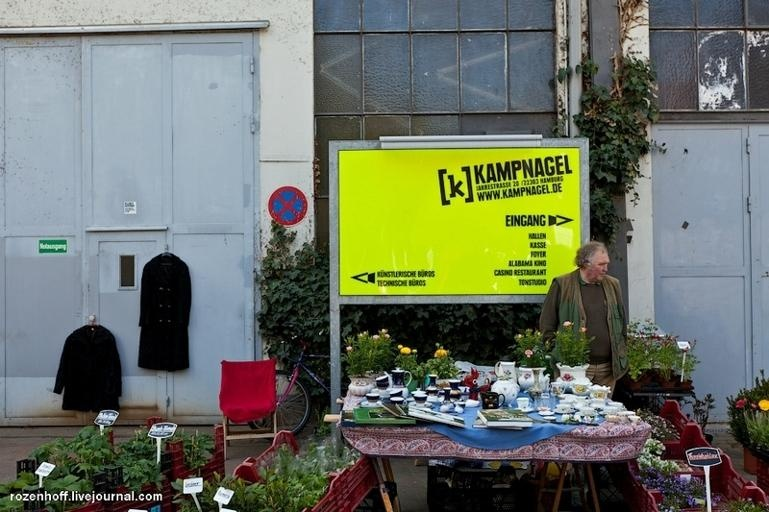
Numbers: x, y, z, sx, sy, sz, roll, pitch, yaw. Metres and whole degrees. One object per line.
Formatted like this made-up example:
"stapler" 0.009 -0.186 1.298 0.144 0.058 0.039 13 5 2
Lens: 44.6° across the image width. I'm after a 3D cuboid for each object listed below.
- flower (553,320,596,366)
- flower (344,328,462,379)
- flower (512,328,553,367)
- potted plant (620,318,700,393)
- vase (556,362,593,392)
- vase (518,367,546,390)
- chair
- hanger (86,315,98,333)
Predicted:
"flower" 2.087 0.988 10.684 0.524 0.578 0.442 4 -6 -15
"flower" 0.130 1.187 10.837 1.026 0.491 0.711 5 -6 -4
"flower" 1.724 1.099 11.082 0.480 0.470 0.450 0 -2 -36
"potted plant" 3.356 1.324 11.949 1.114 1.058 0.815 2 -7 -10
"vase" 2.068 1.346 10.337 0.301 0.228 0.296 2 -9 -4
"vase" 1.631 1.365 10.376 0.274 0.190 0.221 2 -7 -8
"chair" -1.796 1.980 12.497 1.168 1.579 1.115 -1 -9 -8
"hanger" -4.076 0.939 13.076 0.117 0.226 0.104 -1 0 -8
